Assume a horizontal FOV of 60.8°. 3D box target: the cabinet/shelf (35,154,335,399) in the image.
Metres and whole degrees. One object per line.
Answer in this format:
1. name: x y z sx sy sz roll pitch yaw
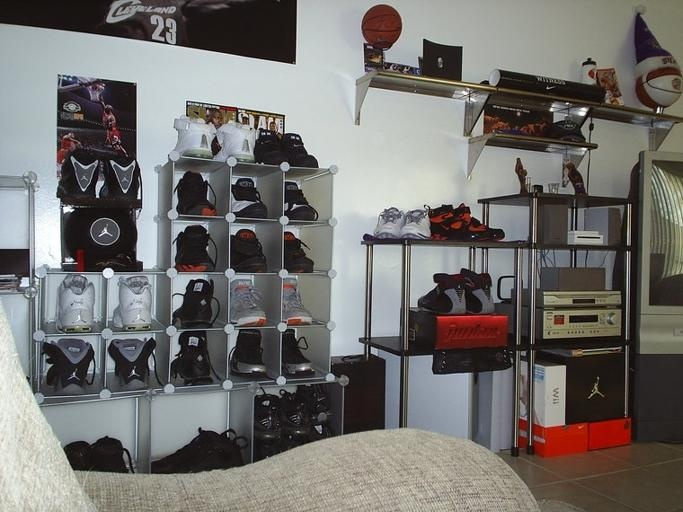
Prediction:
1. cabinet/shelf: -0.595 0.357 2.950 1.371 1.097 0.418 -4 2 20

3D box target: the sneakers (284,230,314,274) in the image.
1. sneakers: -0.255 -0.029 3.029 0.118 0.188 0.310 -2 11 -29

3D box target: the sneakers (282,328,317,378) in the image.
1. sneakers: -0.252 0.501 3.047 0.121 0.222 0.355 1 -2 -19

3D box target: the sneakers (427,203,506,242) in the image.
1. sneakers: 0.755 -0.189 3.342 0.536 0.231 0.180 2 -3 -3

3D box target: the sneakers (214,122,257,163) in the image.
1. sneakers: -0.553 -0.592 3.098 0.180 0.216 0.512 5 2 -20

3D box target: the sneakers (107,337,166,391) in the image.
1. sneakers: -0.998 0.512 2.771 0.237 0.242 0.076 -5 -9 -30

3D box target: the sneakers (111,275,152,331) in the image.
1. sneakers: -1.012 0.212 2.855 0.168 0.251 0.370 0 6 -23

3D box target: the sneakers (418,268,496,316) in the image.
1. sneakers: 0.639 0.185 3.121 0.225 0.141 0.304 0 1 -23

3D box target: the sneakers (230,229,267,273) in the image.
1. sneakers: -0.478 -0.019 2.992 0.182 0.228 0.531 2 12 -13

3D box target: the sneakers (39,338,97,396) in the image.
1. sneakers: -1.218 0.487 2.657 0.198 0.194 0.207 6 -1 34

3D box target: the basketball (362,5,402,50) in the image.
1. basketball: 0.216 -1.327 3.433 0.243 0.280 0.230 -11 42 -12

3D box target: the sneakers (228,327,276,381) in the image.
1. sneakers: -0.477 0.490 2.970 0.161 0.212 0.438 14 -3 -23

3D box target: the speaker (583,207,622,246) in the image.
1. speaker: 1.712 -0.189 3.806 0.081 0.243 0.242 2 4 -22

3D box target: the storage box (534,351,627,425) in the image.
1. storage box: 1.452 0.775 3.577 0.438 0.440 0.402 1 -8 -5

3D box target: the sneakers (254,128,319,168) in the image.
1. sneakers: -0.304 -0.558 2.967 0.177 0.128 0.296 -4 15 -40

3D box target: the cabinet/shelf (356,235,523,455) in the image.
1. cabinet/shelf: 0.642 0.499 3.451 0.617 1.377 0.920 -11 -10 5

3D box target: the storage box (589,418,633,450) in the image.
1. storage box: 1.578 1.047 3.427 0.193 0.122 0.196 -1 0 -4

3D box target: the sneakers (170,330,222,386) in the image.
1. sneakers: -0.734 0.488 2.889 0.248 0.262 0.242 -4 -4 3

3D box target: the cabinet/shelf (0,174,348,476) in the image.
1. cabinet/shelf: -0.790 0.295 2.669 1.438 1.346 0.439 -1 4 -30

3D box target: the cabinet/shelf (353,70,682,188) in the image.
1. cabinet/shelf: 1.239 -0.788 3.790 2.403 0.556 0.374 0 -2 -20

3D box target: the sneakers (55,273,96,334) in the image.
1. sneakers: -1.270 0.180 2.772 0.177 0.246 0.417 -1 10 -28

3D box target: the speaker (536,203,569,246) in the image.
1. speaker: 1.271 -0.200 3.524 0.175 0.224 0.141 -3 6 -3

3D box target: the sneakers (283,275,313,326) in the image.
1. sneakers: -0.257 0.232 3.036 0.118 0.213 0.314 1 9 -24

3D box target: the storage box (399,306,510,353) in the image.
1. storage box: 0.631 0.402 3.267 0.570 0.174 0.533 1 2 -36

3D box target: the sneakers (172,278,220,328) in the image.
1. sneakers: -0.746 0.231 2.908 0.309 0.222 0.102 -5 0 16

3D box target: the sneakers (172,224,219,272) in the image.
1. sneakers: -0.724 -0.036 2.878 0.177 0.227 0.237 0 -2 -16
